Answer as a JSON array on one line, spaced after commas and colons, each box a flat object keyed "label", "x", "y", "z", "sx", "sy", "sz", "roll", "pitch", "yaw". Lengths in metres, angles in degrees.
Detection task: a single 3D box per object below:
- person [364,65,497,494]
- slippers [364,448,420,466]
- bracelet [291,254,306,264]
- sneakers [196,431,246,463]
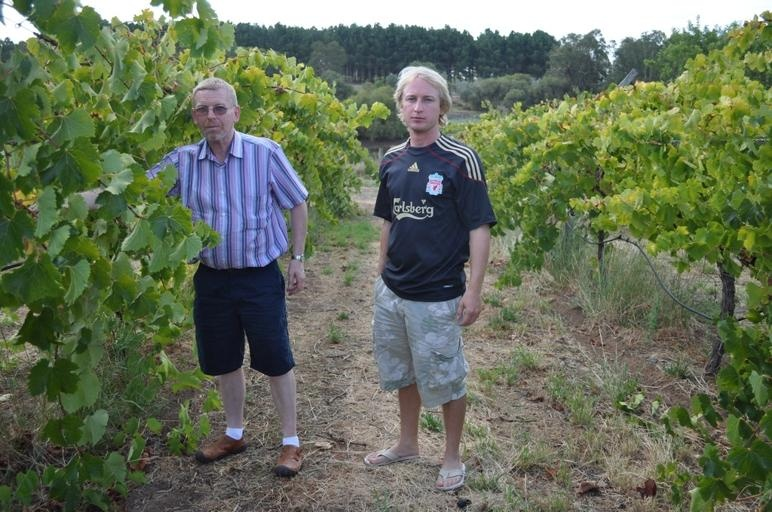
[{"label": "person", "x": 0.288, "y": 0.345, "z": 4.321, "sx": 0.841, "sy": 2.463, "sz": 0.388, "roll": 2, "pitch": 3, "yaw": 15}, {"label": "slippers", "x": 0.027, "y": 1.403, "z": 4.630, "sx": 0.344, "sy": 0.096, "sz": 0.149, "roll": 1, "pitch": -3, "yaw": -7}, {"label": "bracelet", "x": -0.635, "y": 0.015, "z": 4.517, "sx": 0.061, "sy": 0.041, "sz": 0.064, "roll": -4, "pitch": -8, "yaw": 24}, {"label": "sneakers", "x": -1.183, "y": 1.385, "z": 4.718, "sx": 0.409, "sy": 0.200, "sz": 0.144, "roll": -9, "pitch": 10, "yaw": -23}]
